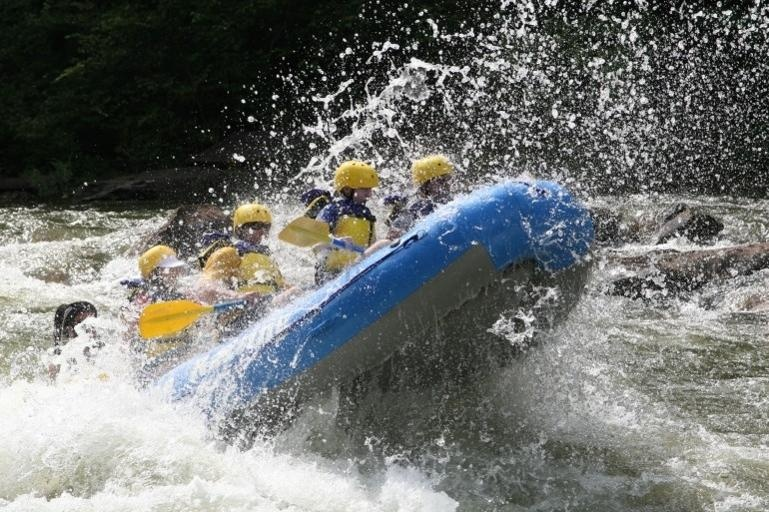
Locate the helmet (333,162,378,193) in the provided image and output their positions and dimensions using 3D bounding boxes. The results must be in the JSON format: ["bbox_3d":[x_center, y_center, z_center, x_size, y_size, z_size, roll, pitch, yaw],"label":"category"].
[{"bbox_3d":[-0.439,-1.158,17.598,0.533,0.404,0.350,17,97,9],"label":"helmet"}]

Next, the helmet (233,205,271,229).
[{"bbox_3d":[-1.999,-0.605,17.780,0.376,0.388,0.217,-7,80,-5],"label":"helmet"}]

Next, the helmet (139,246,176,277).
[{"bbox_3d":[-3.448,0.031,17.915,0.461,0.470,0.140,-29,75,-41],"label":"helmet"}]

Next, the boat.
[{"bbox_3d":[0.087,0.886,17.317,5.322,2.962,1.657,-33,77,6],"label":"boat"}]
